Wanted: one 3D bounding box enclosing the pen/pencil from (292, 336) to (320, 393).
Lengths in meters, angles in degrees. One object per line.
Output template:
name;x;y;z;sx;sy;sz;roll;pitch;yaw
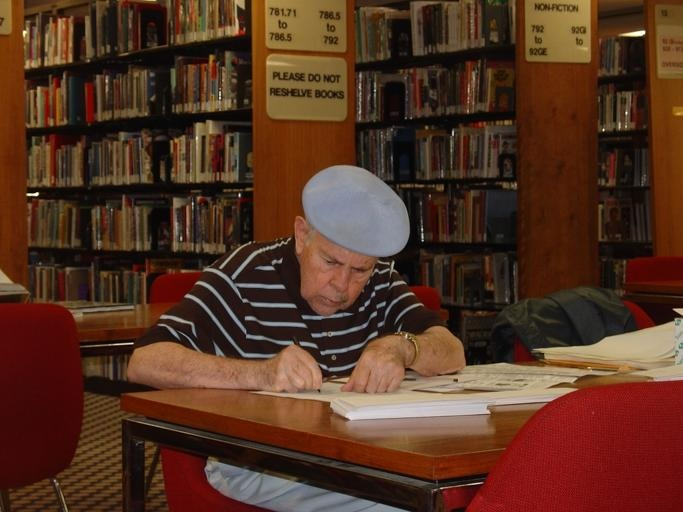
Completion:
pen/pencil;-0.085;0.251;1.597;0.010;0.105;0.025;-28;-7;14
